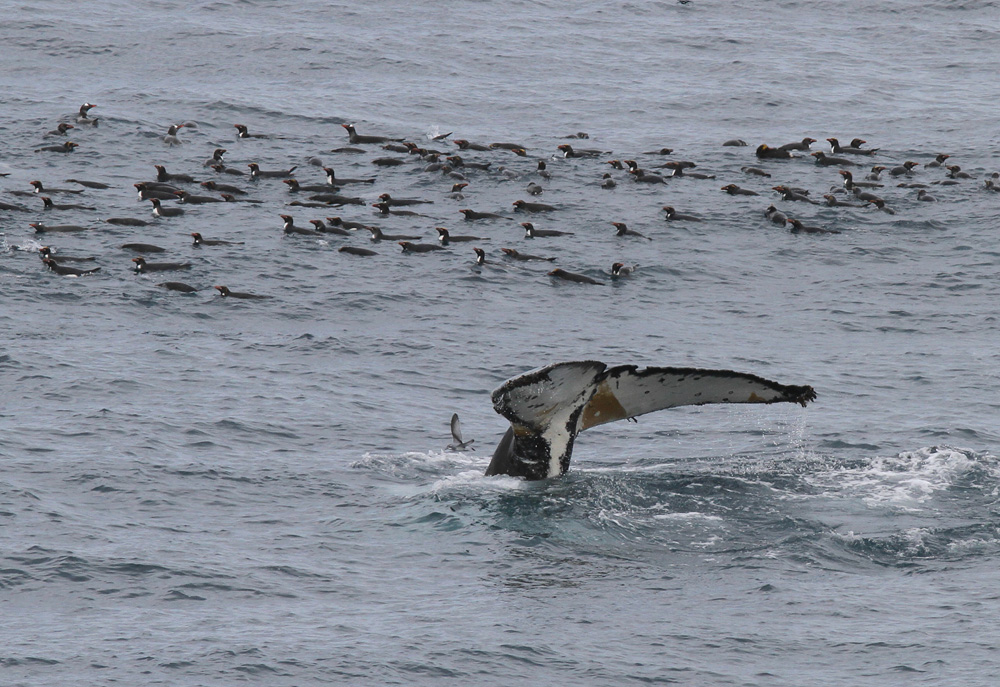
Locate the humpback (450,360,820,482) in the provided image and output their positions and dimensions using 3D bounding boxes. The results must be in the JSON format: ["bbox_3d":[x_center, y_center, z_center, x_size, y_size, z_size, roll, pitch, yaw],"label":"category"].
[{"bbox_3d":[2.100,1.191,40.856,5.447,0.914,3.534,-12,-19,37],"label":"humpback"}]
